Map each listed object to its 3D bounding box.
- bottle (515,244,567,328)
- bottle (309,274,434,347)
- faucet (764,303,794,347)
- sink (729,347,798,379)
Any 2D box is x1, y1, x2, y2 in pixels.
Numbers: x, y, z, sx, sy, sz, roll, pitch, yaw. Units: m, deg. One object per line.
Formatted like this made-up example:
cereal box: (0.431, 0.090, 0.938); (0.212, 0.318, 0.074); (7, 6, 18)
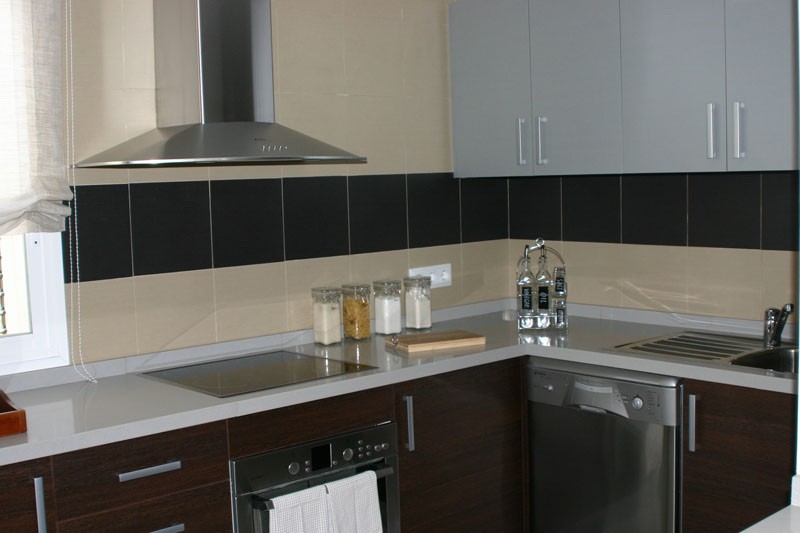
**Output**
bottle: (0.764, 0.070, 3.510); (0.259, 0.470, 0.435); (-3, 8, 12)
bottle: (-0.156, 0.213, 3.357); (0.618, 0.288, 0.224); (-9, 9, -26)
faucet: (1.713, 0.255, 2.905); (0.190, 0.179, 0.094); (-7, 8, -16)
sink: (1.598, 0.409, 2.828); (0.216, 0.079, 0.166); (-4, 5, 22)
